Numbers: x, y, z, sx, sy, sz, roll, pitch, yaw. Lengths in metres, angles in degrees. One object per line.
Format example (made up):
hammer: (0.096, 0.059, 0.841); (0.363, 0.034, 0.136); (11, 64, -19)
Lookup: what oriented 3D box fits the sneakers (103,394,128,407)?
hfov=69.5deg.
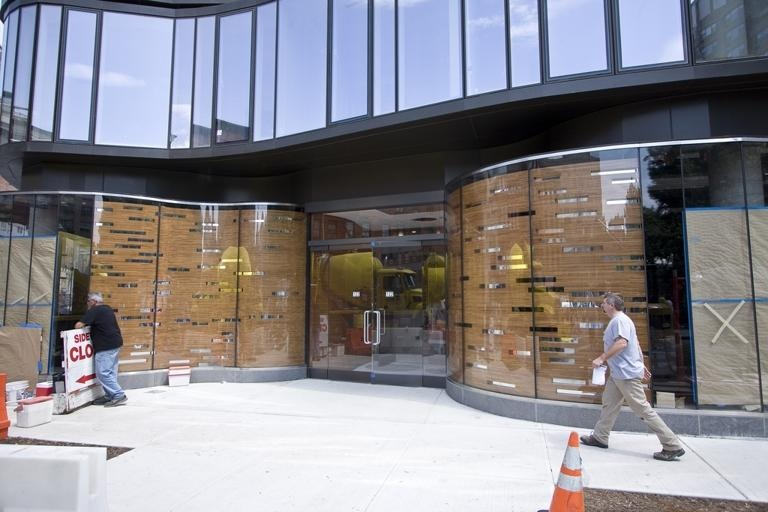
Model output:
sneakers: (-6.102, 3.309, 12.592); (0.175, 0.170, 0.446); (1, 6, 32)

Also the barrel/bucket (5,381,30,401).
barrel/bucket: (-7.904, 2.940, 12.000); (0.385, 0.278, 0.413); (-1, -8, 0)

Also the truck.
truck: (-0.115, 1.425, 16.923); (9.392, 4.136, 2.994); (-5, -5, 20)

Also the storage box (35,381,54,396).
storage box: (-7.419, 2.909, 12.136); (0.301, 0.313, 0.501); (0, -6, -8)

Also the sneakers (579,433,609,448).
sneakers: (3.763, 3.335, 10.007); (0.522, 0.208, 0.188); (5, 0, 32)

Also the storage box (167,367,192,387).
storage box: (-5.339, 3.163, 14.462); (0.498, 0.317, 0.488); (5, -7, -43)

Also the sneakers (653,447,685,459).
sneakers: (4.836, 3.390, 9.429); (0.484, 0.193, 0.211); (0, -6, 13)

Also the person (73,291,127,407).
person: (-6.404, 2.133, 12.695); (1.034, 2.470, 0.739); (6, 11, 38)

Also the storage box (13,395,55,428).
storage box: (-7.045, 3.103, 11.279); (0.520, 0.576, 0.919); (-3, -5, 21)
